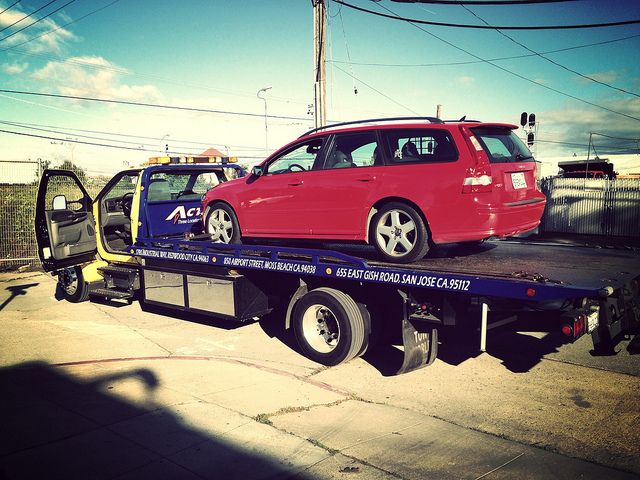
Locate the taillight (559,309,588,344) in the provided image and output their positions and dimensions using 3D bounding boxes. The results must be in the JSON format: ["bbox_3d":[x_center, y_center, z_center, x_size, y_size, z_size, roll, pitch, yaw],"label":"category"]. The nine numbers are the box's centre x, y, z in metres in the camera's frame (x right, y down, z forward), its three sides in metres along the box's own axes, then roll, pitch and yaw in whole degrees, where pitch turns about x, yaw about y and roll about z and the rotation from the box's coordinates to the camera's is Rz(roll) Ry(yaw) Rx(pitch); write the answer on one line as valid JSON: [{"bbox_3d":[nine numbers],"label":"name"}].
[{"bbox_3d":[2.893,0.958,5.333,0.363,0.276,0.192,-14,13,-41],"label":"taillight"}]

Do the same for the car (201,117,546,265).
[{"bbox_3d":[0.571,-0.857,7.473,4.751,1.392,2.111,5,9,32],"label":"car"}]
